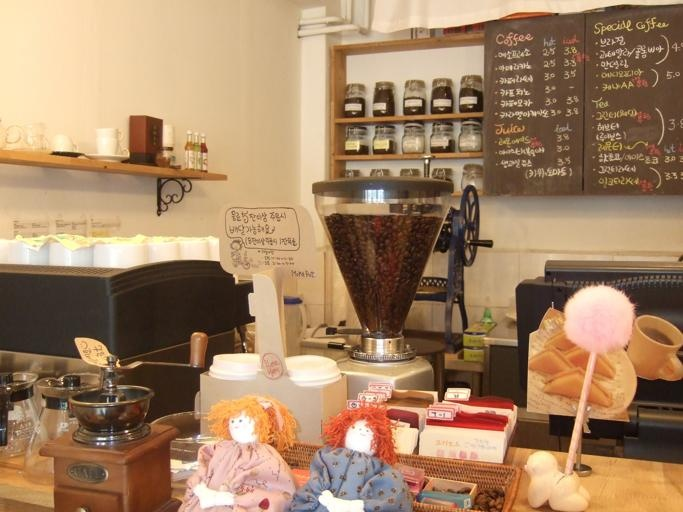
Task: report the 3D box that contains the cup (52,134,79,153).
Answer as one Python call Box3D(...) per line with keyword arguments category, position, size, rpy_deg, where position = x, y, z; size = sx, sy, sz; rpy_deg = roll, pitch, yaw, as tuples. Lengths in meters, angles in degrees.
Box3D(category="cup", position=(-1.027, -0.402, 2.120), size=(0.063, 0.064, 0.080), rpy_deg=(-14, -17, 31))

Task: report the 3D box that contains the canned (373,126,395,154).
Box3D(category="canned", position=(0.285, -0.767, 3.730), size=(0.187, 0.192, 0.134), rpy_deg=(0, 2, 11))

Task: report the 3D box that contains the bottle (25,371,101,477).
Box3D(category="bottle", position=(-0.621, 0.370, 1.286), size=(0.164, 0.230, 0.235), rpy_deg=(2, 2, -7))

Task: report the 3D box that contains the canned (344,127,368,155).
Box3D(category="canned", position=(0.106, -0.774, 3.822), size=(0.183, 0.209, 0.184), rpy_deg=(0, 7, -4))

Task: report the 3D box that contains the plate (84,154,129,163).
Box3D(category="plate", position=(-0.928, -0.387, 2.242), size=(0.155, 0.035, 0.107), rpy_deg=(-4, 6, -27))

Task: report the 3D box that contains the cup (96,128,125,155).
Box3D(category="cup", position=(-0.918, -0.446, 2.240), size=(0.080, 0.116, 0.125), rpy_deg=(-2, -2, 13))

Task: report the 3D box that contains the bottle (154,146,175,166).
Box3D(category="bottle", position=(-0.785, -0.440, 2.520), size=(0.044, 0.090, 0.084), rpy_deg=(1, 6, 30))

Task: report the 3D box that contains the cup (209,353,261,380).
Box3D(category="cup", position=(-0.233, 0.254, 1.326), size=(0.139, 0.048, 0.102), rpy_deg=(0, 5, 20))

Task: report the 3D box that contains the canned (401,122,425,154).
Box3D(category="canned", position=(0.473, -0.763, 3.669), size=(0.138, 0.204, 0.091), rpy_deg=(-2, 5, 1))

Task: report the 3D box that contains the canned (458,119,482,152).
Box3D(category="canned", position=(0.815, -0.757, 3.562), size=(0.141, 0.206, 0.071), rpy_deg=(-1, 5, 12))
